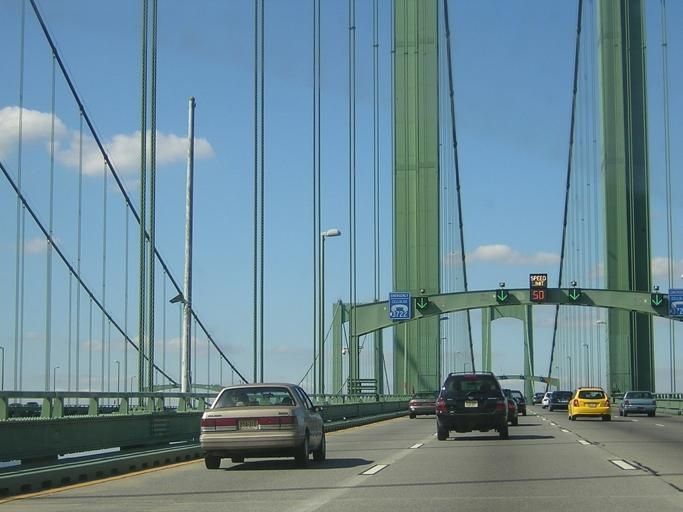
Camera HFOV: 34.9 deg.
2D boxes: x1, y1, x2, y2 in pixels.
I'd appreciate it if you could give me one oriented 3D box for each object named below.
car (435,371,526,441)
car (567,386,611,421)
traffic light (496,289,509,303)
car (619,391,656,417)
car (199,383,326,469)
[{"bbox_3d":[3.630,4.100,30.240,1.909,1.829,0.866,-3,-8,-3],"label":"car"},{"bbox_3d":[10.752,6.376,47.080,1.629,1.472,2.538,-5,-9,9],"label":"car"},{"bbox_3d":[9.513,2.315,63.895,0.718,0.794,0.537,-4,-8,-1],"label":"traffic light"},{"bbox_3d":[15.365,7.681,56.257,1.123,0.986,2.178,0,-1,8],"label":"car"},{"bbox_3d":[-1.647,3.596,23.279,2.805,1.823,1.939,0,-9,-28],"label":"car"}]
